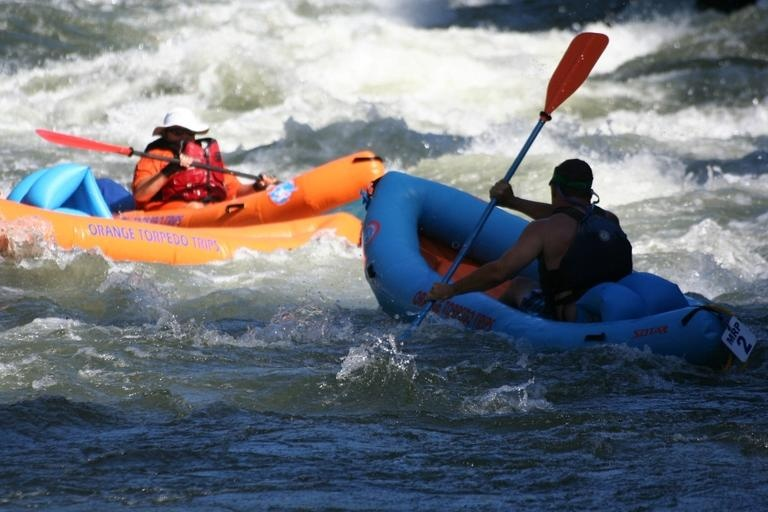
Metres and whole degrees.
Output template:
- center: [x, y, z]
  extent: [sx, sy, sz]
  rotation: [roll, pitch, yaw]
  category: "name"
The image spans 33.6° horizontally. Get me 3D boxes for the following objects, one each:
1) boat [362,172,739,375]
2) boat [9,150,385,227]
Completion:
- center: [1.613, 0.302, 13.187]
  extent: [3.878, 0.986, 1.833]
  rotation: [23, 30, 22]
  category: "boat"
- center: [-2.384, -0.700, 15.802]
  extent: [3.846, 0.651, 1.609]
  rotation: [-3, 2, 0]
  category: "boat"
